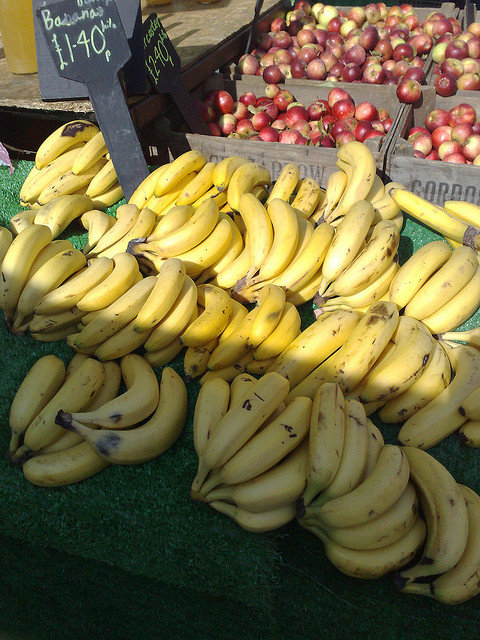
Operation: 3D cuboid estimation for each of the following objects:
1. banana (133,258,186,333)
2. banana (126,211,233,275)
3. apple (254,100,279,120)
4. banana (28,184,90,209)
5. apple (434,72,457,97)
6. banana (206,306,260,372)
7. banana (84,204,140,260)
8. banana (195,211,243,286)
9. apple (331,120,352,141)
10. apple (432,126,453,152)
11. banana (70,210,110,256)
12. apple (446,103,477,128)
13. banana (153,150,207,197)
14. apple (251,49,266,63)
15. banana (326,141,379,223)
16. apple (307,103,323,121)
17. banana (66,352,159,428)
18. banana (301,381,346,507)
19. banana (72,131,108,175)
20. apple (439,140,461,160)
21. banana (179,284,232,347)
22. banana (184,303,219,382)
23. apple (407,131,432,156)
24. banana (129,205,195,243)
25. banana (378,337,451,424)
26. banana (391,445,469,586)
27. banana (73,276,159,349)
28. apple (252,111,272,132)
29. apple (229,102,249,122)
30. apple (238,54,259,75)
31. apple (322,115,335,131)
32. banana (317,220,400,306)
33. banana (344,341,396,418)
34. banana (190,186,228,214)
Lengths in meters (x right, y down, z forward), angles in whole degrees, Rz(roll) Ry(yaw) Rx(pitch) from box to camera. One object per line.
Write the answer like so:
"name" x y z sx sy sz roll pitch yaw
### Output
"banana" -0.248 -0.084 1.743 0.107 0.085 0.309 17 54 11
"banana" -0.178 -0.286 1.903 0.267 0.083 0.223 -35 63 -8
"apple" 0.168 -1.366 3.606 0.153 0.090 0.119 36 42 18
"banana" -0.816 -0.543 2.409 0.248 0.082 0.054 -25 72 3
"apple" 1.284 -1.455 3.380 0.135 0.113 0.122 15 51 28
"banana" -0.023 0.067 1.682 0.060 0.072 0.217 12 58 49
"banana" -0.514 -0.342 2.156 0.270 0.135 0.072 -57 19 -7
"banana" -0.047 -0.264 2.035 0.264 0.066 0.195 -49 50 31
"apple" 0.590 -1.124 3.186 0.114 0.131 0.108 1 71 0
"apple" 1.197 -1.058 3.246 0.138 0.137 0.157 6 91 29
"banana" -0.603 -0.348 2.193 0.154 0.058 0.238 -32 41 -1
"apple" 1.307 -1.189 3.197 0.160 0.080 0.190 4 46 19
"banana" -0.249 -0.617 2.301 0.282 0.115 0.108 -34 47 -20
"apple" 0.144 -1.952 3.995 0.102 0.099 0.095 3 49 7
"banana" 0.482 -0.590 2.239 0.214 0.079 0.376 22 77 -7
"apple" 0.482 -1.309 3.433 0.102 0.098 0.119 -19 4 13
"banana" -0.345 0.217 1.615 0.225 0.106 0.339 8 29 3
"banana" 0.235 0.299 1.386 0.107 0.079 0.315 -13 52 48
"banana" -0.749 -0.770 2.574 0.077 0.087 0.275 -25 43 2
"apple" 1.189 -0.971 3.074 0.102 0.112 0.098 -29 39 -25
"banana" -0.093 -0.009 1.703 0.169 0.076 0.309 -1 30 7
"banana" -0.117 0.095 1.682 0.056 0.062 0.186 0 69 15
"apple" 1.058 -1.021 3.195 0.135 0.103 0.174 11 49 25
"banana" -0.291 -0.352 2.029 0.223 0.076 0.056 -42 62 -18
"banana" 0.503 0.196 1.561 0.177 0.075 0.325 8 48 44
"banana" 0.473 0.448 1.336 0.199 0.107 0.358 -18 36 20
"banana" -0.395 -0.016 1.723 0.067 0.081 0.253 43 74 8
"apple" 0.138 -1.259 3.510 0.124 0.141 0.121 -17 42 -20
"apple" -0.013 -1.365 3.649 0.126 0.146 0.120 -14 85 -10
"apple" 0.066 -1.812 3.831 0.146 0.163 0.139 -2 68 2
"apple" 0.550 -1.227 3.397 0.067 0.051 0.085 -33 54 36
"banana" 0.431 -0.188 1.887 0.360 0.087 0.172 -44 77 9
"banana" 0.366 0.170 1.532 0.232 0.076 0.062 -57 28 -11
"banana" -0.123 -0.475 2.164 0.196 0.052 0.064 -41 13 9
